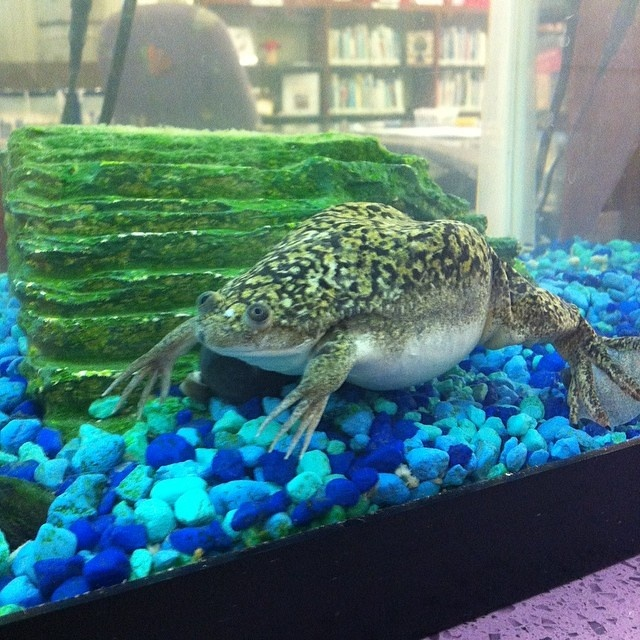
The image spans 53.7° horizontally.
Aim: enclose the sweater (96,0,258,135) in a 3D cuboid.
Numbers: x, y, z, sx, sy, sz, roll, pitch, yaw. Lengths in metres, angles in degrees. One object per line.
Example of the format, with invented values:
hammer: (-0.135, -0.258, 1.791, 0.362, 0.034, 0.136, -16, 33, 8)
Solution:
sweater: (-0.294, -0.505, 1.238, 0.282, 0.236, 0.097, 0, 10, -14)
